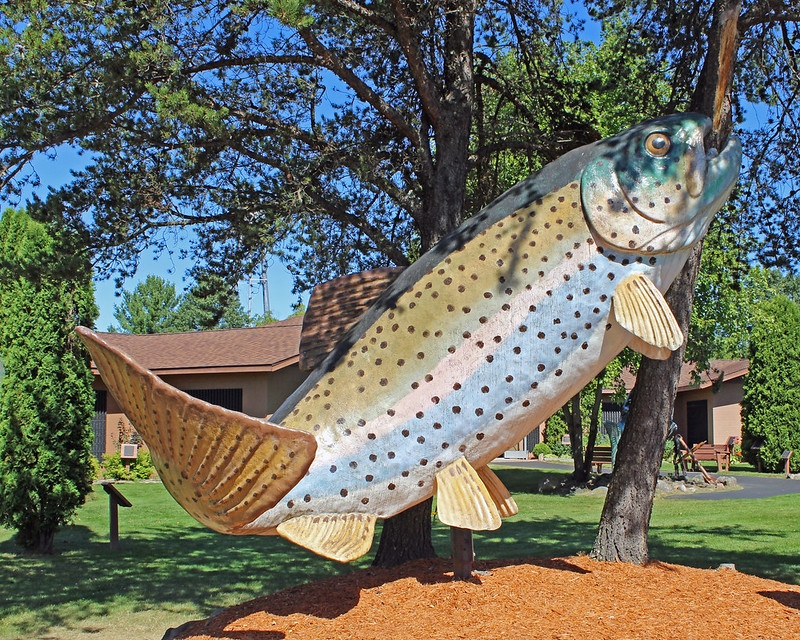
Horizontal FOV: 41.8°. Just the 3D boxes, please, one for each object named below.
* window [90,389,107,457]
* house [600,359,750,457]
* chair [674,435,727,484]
[{"bbox_3d":[-8.050,2.713,27.892,0.123,1.532,0.497,-7,-8,43],"label":"window"},{"bbox_3d":[9.829,2.925,36.484,4.399,3.021,6.155,-1,0,-42],"label":"house"},{"bbox_3d":[7.103,3.286,25.751,0.725,0.831,0.683,20,-17,-11],"label":"chair"}]
